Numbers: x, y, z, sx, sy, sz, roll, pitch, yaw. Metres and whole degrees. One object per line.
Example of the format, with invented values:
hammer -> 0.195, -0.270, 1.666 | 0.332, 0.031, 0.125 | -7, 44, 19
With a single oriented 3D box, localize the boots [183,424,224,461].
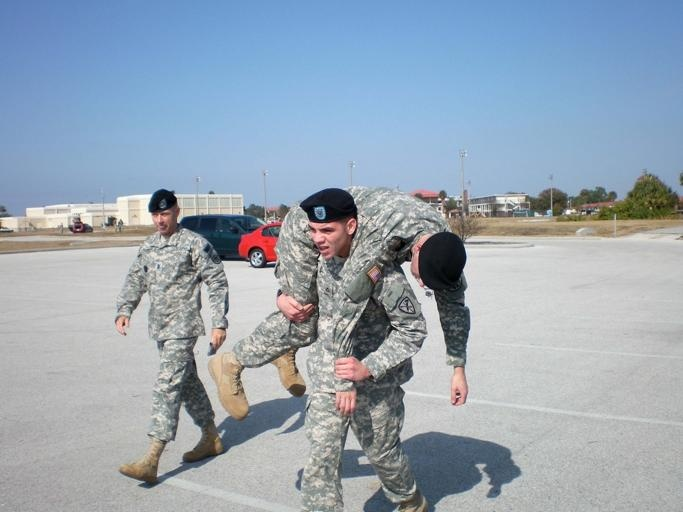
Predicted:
boots -> -1.203, 1.593, 4.105 | 0.389, 0.283, 0.143 | 3, -14, -44

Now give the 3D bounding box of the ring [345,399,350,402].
ring -> 0.038, 0.809, 2.689 | 0.030, 0.020, 0.005 | -4, 6, -15

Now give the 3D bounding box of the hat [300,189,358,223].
hat -> -0.059, -0.323, 2.825 | 0.400, 0.151, 0.330 | -19, 20, -39

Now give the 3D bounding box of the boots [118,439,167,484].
boots -> -1.488, 1.526, 3.604 | 0.303, 0.304, 0.151 | 29, -48, -31

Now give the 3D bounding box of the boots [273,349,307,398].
boots -> -0.494, 1.080, 4.510 | 0.221, 0.486, 0.689 | 7, -15, -12

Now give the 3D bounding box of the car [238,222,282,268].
car -> -3.023, -0.379, 17.502 | 2.333, 1.169, 1.331 | -10, 9, 6

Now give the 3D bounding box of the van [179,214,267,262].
van -> -5.737, -1.100, 21.488 | 4.428, 1.923, 2.619 | -1, 5, 22
